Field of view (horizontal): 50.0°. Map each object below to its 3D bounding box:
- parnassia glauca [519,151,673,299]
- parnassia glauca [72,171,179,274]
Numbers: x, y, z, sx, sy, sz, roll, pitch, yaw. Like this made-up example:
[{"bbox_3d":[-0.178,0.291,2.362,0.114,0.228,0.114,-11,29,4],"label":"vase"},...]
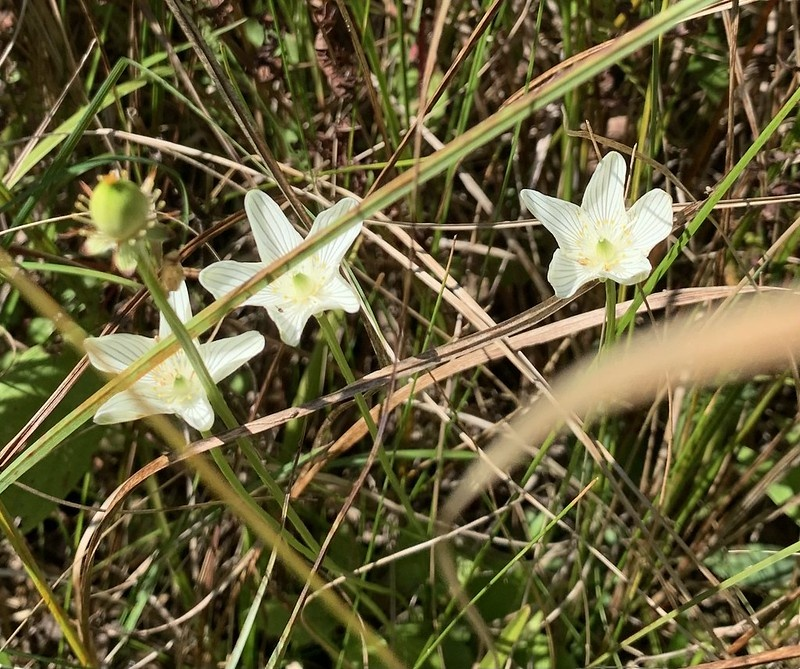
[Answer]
[{"bbox_3d":[0.458,-0.205,1.903,0.293,0.269,0.131,-27,44,39],"label":"parnassia glauca"},{"bbox_3d":[-0.452,-0.191,1.368,0.142,0.201,0.156,-2,14,-15],"label":"parnassia glauca"}]
